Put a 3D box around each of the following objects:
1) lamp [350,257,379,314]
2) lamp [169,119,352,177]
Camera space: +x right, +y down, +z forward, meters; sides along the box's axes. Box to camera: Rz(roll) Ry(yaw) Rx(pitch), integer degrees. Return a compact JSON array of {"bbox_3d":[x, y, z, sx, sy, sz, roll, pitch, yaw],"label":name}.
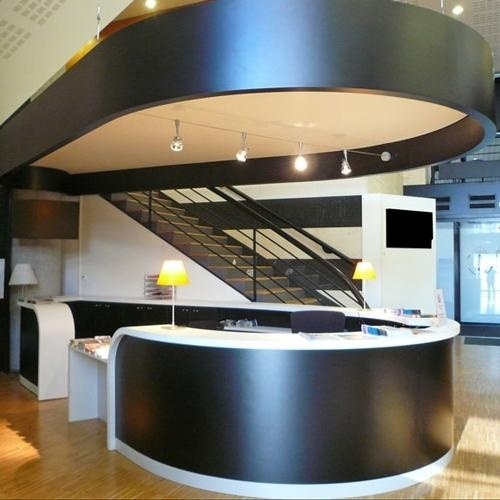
[{"bbox_3d":[1.295,0.396,5.519,0.241,0.554,0.246,-11,13,-43],"label":"lamp"},{"bbox_3d":[0.082,-0.975,4.959,2.039,0.560,0.999,-7,8,-27],"label":"lamp"}]
